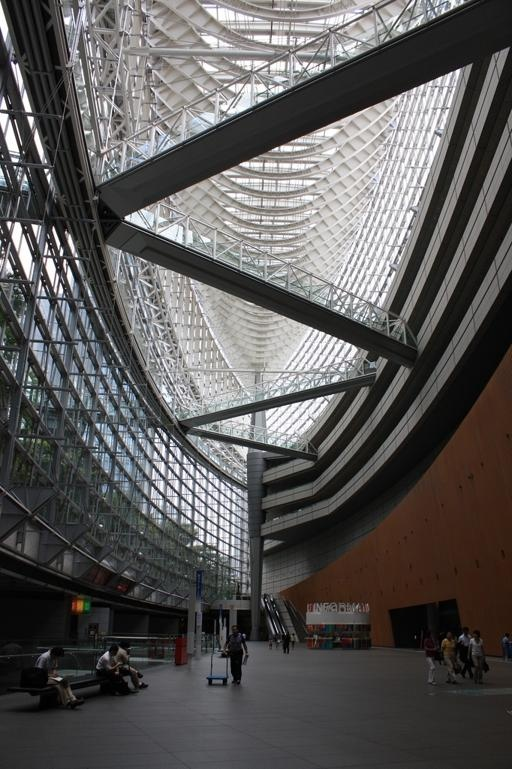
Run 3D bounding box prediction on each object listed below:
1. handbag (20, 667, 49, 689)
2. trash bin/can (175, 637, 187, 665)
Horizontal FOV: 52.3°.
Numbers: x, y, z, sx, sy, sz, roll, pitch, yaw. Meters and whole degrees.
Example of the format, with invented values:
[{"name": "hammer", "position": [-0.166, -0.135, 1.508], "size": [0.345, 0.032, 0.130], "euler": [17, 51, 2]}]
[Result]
[{"name": "handbag", "position": [-2.663, 3.572, 6.296], "size": [0.256, 0.207, 0.214], "euler": [-1, -47, -7]}, {"name": "trash bin/can", "position": [-2.558, 9.094, 17.817], "size": [0.351, 0.826, 1.268], "euler": [4, -25, -9]}]
